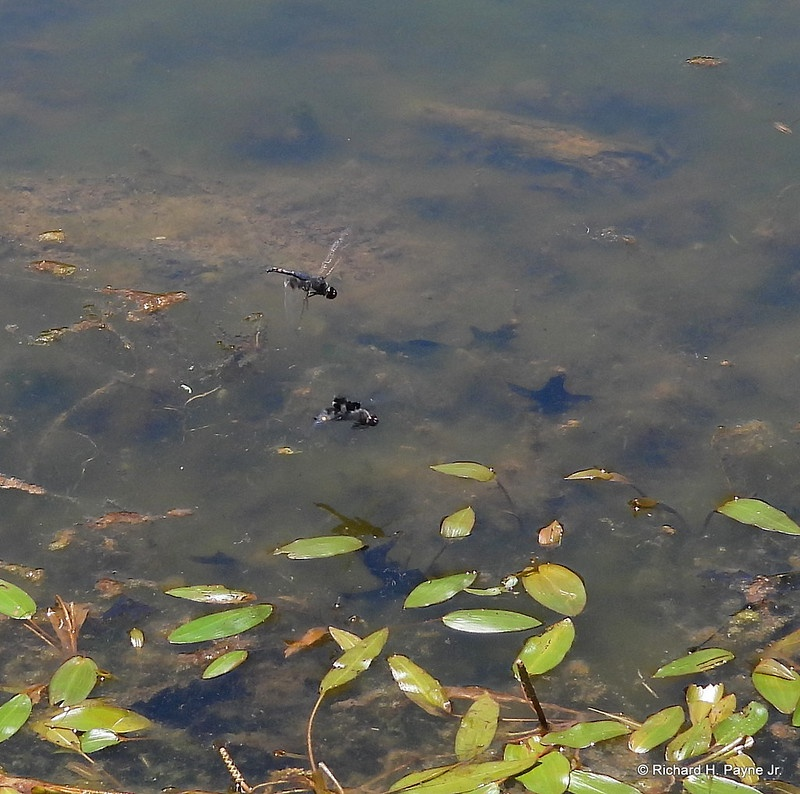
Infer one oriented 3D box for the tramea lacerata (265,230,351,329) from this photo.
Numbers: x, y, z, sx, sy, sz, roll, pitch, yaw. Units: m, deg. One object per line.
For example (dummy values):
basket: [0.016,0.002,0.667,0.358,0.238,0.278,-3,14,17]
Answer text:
tramea lacerata: [-0.388,-0.505,4.582,0.289,0.187,0.362,30,37,3]
